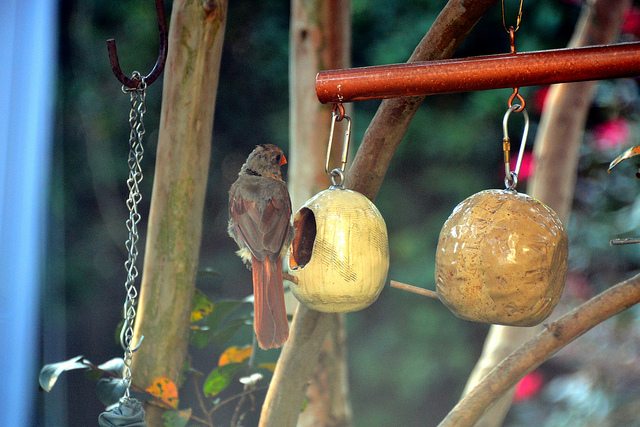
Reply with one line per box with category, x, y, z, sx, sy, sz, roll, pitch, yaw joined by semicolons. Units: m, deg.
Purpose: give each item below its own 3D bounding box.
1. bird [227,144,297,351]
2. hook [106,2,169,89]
bird;-0.190;0.164;5.234;0.292;0.365;0.878;2;-95;8
hook;-0.772;-0.692;5.061;0.255;0.262;0.351;3;-56;-7
